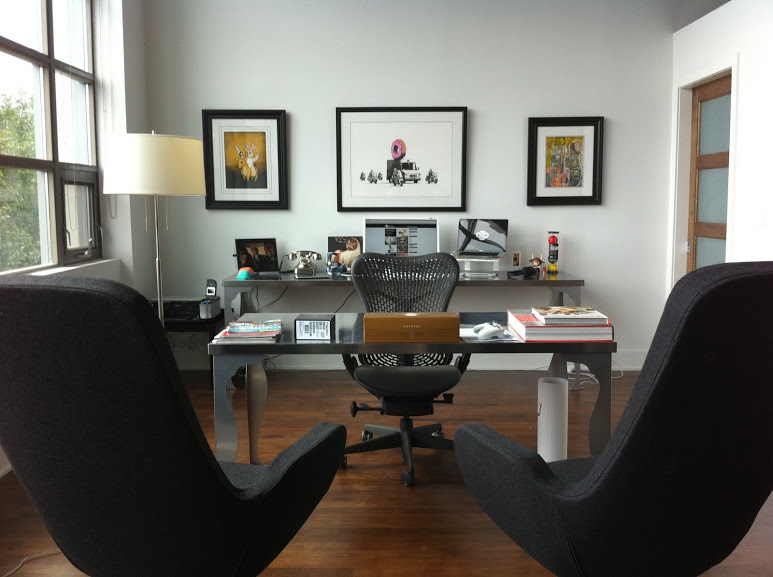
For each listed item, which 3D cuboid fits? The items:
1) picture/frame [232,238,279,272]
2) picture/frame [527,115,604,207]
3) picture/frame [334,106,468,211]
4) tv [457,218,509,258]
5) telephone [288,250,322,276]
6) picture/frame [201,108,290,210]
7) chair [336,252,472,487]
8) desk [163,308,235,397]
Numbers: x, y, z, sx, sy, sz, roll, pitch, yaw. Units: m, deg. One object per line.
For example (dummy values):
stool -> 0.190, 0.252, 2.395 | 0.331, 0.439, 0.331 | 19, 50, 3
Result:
picture/frame -> -0.984, -0.248, 4.755 | 0.237, 0.220, 0.088 | 1, -9, -10
picture/frame -> 1.367, -0.990, 4.780 | 0.602, 0.743, 0.056 | 0, 5, -3
picture/frame -> 0.114, -1.018, 4.800 | 0.712, 0.582, 0.028 | 0, 4, -1
tv -> 0.733, -0.379, 4.775 | 0.371, 0.282, 0.275 | 0, 0, 4
telephone -> -0.606, -0.179, 4.686 | 0.253, 0.204, 0.163 | 1, 5, -3
picture/frame -> -1.077, -1.008, 4.778 | 0.785, 0.963, 0.065 | 0, 5, -5
chair -> 0.086, 0.334, 3.422 | 0.879, 1.496, 0.971 | 0, -2, -1
desk -> -1.348, 0.428, 4.616 | 0.488, 0.656, 0.673 | 0, 5, -7
